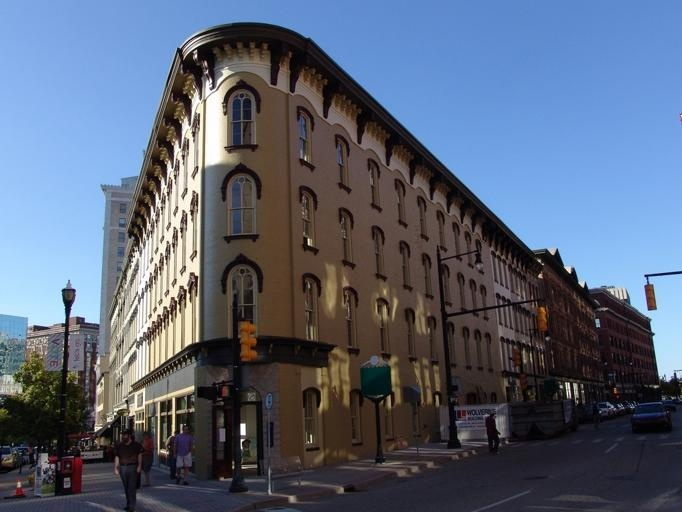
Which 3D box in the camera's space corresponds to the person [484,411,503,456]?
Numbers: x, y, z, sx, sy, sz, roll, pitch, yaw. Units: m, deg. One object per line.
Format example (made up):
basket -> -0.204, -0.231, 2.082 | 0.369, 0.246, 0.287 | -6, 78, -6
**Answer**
person -> 7.892, 9.229, 31.849 | 0.556, 2.039, 1.368 | -6, -17, 11
